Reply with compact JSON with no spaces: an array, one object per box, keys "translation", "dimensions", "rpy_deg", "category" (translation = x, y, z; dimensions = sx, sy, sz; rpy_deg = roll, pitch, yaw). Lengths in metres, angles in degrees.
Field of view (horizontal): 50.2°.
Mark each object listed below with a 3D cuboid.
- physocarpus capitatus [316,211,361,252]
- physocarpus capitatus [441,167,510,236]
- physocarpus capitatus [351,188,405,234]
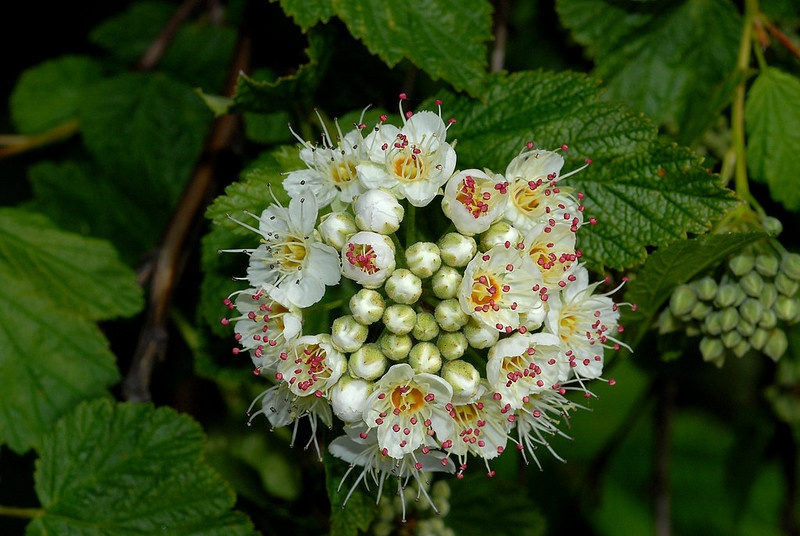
[{"translation":[-0.338,-0.187,4.910],"dimensions":[0.175,0.217,0.187],"rpy_deg":[21,96,30],"category":"physocarpus capitatus"},{"translation":[0.446,-0.369,4.894],"dimensions":[0.306,0.373,0.411],"rpy_deg":[-17,90,18],"category":"physocarpus capitatus"},{"translation":[-0.111,-0.306,4.765],"dimensions":[0.212,0.228,0.266],"rpy_deg":[-25,43,29],"category":"physocarpus capitatus"}]
